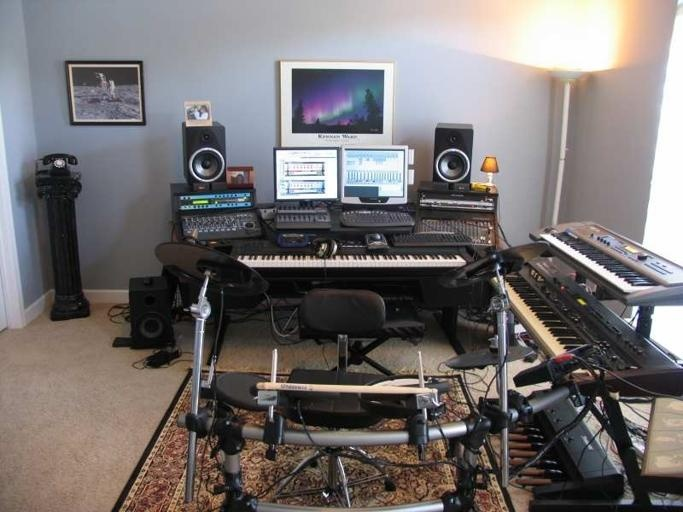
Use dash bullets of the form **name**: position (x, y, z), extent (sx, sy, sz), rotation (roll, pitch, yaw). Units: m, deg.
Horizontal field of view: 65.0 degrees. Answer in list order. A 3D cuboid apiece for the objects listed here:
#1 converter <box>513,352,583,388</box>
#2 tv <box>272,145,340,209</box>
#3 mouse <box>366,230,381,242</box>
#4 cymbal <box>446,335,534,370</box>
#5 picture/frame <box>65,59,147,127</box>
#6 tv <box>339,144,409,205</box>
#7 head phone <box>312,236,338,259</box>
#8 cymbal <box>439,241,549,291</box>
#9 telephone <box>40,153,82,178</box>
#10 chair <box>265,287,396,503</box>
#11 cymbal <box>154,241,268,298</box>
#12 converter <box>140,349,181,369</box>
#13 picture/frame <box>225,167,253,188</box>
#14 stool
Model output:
- **converter**: position (0.928, 0.583, 2.621), extent (0.343, 0.137, 0.386), rotation (-10, -15, 22)
- **tv**: position (-0.283, -0.633, 4.275), extent (0.501, 0.394, 0.067), rotation (0, 9, -3)
- **mouse**: position (0.246, -0.149, 4.188), extent (0.120, 0.049, 0.157), rotation (0, 19, 1)
- **cymbal**: position (0.661, 0.476, 2.559), extent (0.272, 0.068, 0.269), rotation (-16, 14, -13)
- **picture/frame**: position (-2.016, -1.432, 4.592), extent (0.548, 0.466, 0.052), rotation (2, 26, 2)
- **tv**: position (0.285, -0.663, 4.554), extent (0.736, 0.636, 0.418), rotation (0, 12, -1)
- **head phone**: position (-0.120, -0.056, 3.998), extent (0.138, 0.158, 0.073), rotation (9, 49, 0)
- **cymbal**: position (0.665, 0.053, 2.558), extent (0.370, 0.265, 0.250), rotation (8, 20, 23)
- **telephone**: position (-2.345, -0.760, 4.474), extent (0.243, 0.149, 0.127), rotation (-2, 40, -15)
- **chair**: position (-0.022, 0.761, 2.953), extent (0.626, 1.002, 1.280), rotation (1, 19, 5)
- **cymbal**: position (-0.582, 0.057, 2.419), extent (0.349, 0.072, 0.329), rotation (9, -24, 14)
- **converter**: position (-1.341, 0.780, 4.063), extent (0.120, 0.069, 0.210), rotation (6, 18, 24)
- **picture/frame**: position (-0.833, -0.648, 4.401), extent (0.219, 0.156, 0.139), rotation (-5, 19, -12)
- **stool**: position (0.274, 0.412, 3.832), extent (0.772, 0.510, 0.564), rotation (1, 17, 1)
